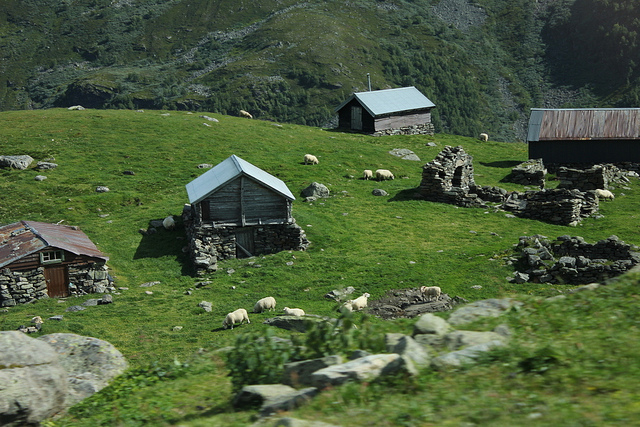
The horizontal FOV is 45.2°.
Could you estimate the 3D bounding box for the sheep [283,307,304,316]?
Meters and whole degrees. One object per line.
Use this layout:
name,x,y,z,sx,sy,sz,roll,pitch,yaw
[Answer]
sheep,-2.673,9.956,78.756,1.876,0.604,0.711,10,-1,13

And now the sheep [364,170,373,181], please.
sheep,6.782,-5.399,105.715,1.044,1.425,1.039,-2,8,3

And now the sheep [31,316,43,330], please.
sheep,-29.250,11.238,79.307,1.124,1.054,1.256,-5,8,-20

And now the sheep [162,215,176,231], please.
sheep,-18.213,1.150,93.257,1.205,1.597,1.350,-8,10,-37
